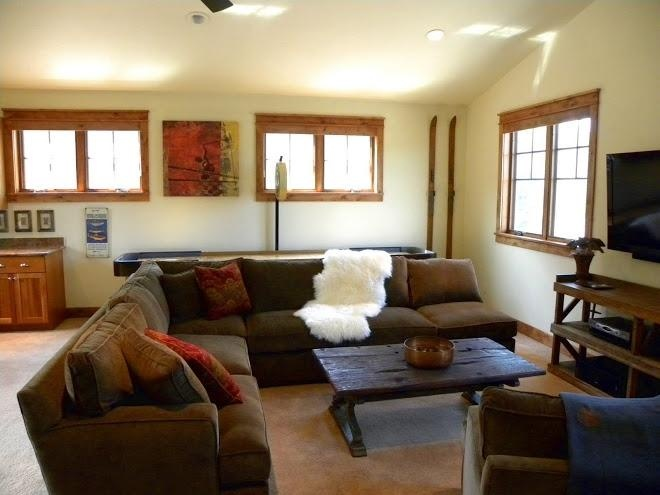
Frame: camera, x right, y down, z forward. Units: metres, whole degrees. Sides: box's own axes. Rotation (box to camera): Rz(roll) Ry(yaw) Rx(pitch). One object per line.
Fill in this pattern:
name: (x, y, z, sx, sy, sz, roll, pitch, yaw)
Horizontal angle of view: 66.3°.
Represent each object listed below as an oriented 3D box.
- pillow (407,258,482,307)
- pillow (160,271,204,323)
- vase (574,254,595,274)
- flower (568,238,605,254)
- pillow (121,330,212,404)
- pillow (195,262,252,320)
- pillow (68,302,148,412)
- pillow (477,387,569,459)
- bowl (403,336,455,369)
pillow: (1.121, 0.345, 5.169, 0.834, 0.444, 0.294, -2, 3, -19)
pillow: (-1.348, 0.454, 4.473, 0.430, 0.381, 0.167, -9, -16, -41)
vase: (2.267, 0.143, 4.540, 0.204, 0.174, 0.180, 1, 1, 23)
flower: (2.279, -0.027, 4.536, 0.205, 0.069, 0.189, -1, 5, 12)
pillow: (-0.914, 0.715, 2.909, 0.559, 0.357, 0.321, 18, 14, 42)
pillow: (-0.953, 0.424, 4.576, 0.168, 0.601, 0.660, -11, -40, 18)
pillow: (-1.252, 0.631, 2.864, 0.312, 0.404, 0.647, -3, 8, -8)
pillow: (0.887, 0.818, 2.369, 0.361, 0.300, 0.131, 2, -13, 2)
bowl: (0.738, 0.804, 3.713, 0.359, 0.113, 0.334, -1, -2, 0)
